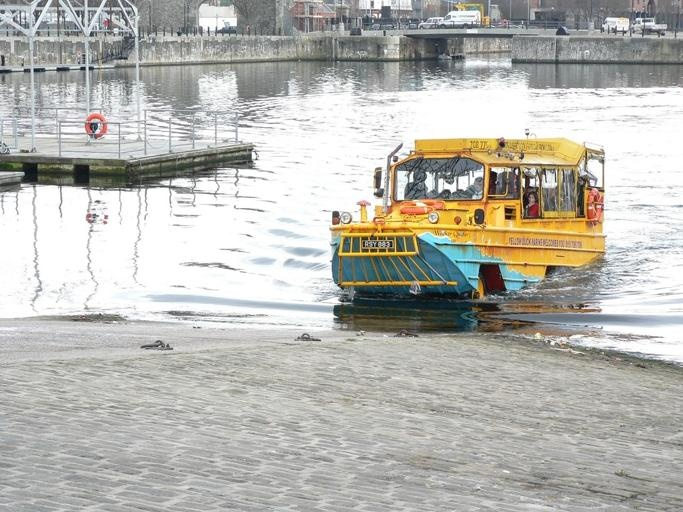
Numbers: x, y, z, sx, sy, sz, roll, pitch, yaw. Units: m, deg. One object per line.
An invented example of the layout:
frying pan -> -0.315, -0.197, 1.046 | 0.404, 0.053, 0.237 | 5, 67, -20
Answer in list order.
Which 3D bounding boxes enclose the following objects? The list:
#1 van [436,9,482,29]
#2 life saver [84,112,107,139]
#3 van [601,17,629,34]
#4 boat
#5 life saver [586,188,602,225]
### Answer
van -> 14.018, -28.678, 133.018 | 5.751, 1.937, 2.713 | 4, 9, 20
life saver -> -8.994, -4.766, 40.156 | 1.440, 0.994, 0.316 | 4, 12, 2
van -> 32.012, -26.410, 124.843 | 3.272, 1.537, 4.433 | 1, 9, -1
boat -> 2.562, -0.781, 21.251 | 5.308, 3.103, 2.304 | -5, 15, -45
life saver -> 5.264, -1.053, 22.715 | 0.317, 0.617, 0.634 | 7, 6, 15
